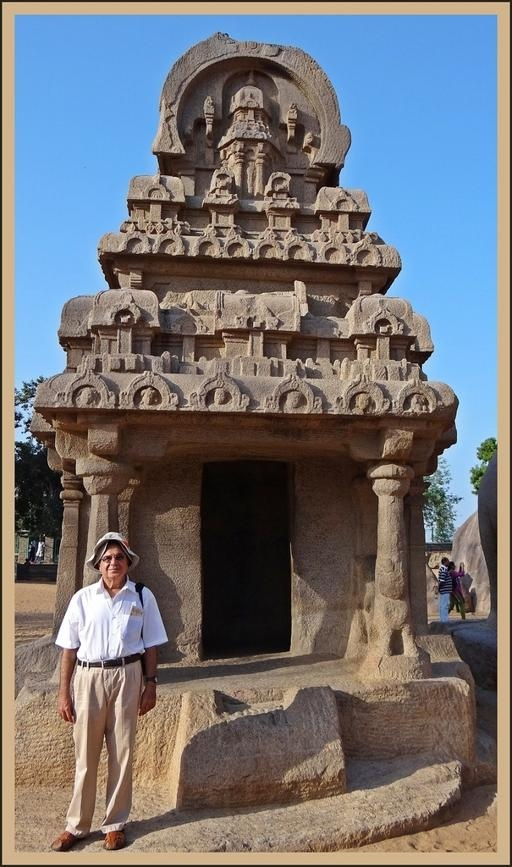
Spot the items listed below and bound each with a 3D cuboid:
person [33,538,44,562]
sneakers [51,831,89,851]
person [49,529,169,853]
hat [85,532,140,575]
[{"bbox_3d":[-8.095,4.368,30.533,0.280,0.761,2.445,1,-8,-15],"label":"person"},{"bbox_3d":[-0.957,2.061,4.189,0.066,0.095,0.195,8,-2,20],"label":"sneakers"},{"bbox_3d":[-0.749,1.299,4.171,0.569,1.570,0.364,0,-7,-5],"label":"person"},{"bbox_3d":[-0.757,0.604,4.315,0.255,0.198,0.249,5,-10,-18],"label":"hat"}]
